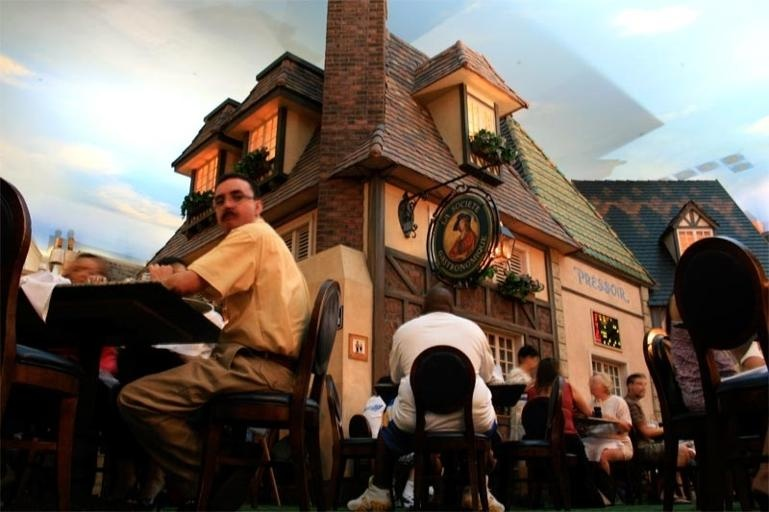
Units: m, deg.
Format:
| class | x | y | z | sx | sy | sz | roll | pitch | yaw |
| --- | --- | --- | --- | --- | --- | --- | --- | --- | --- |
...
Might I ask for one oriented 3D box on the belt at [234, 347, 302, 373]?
| class | x | y | z | sx | sy | sz | roll | pitch | yaw |
| --- | --- | --- | --- | --- | --- | --- | --- | --- | --- |
| belt | -0.803 | 0.697 | 4.245 | 0.300 | 0.076 | 0.217 | 13 | -12 | -3 |
